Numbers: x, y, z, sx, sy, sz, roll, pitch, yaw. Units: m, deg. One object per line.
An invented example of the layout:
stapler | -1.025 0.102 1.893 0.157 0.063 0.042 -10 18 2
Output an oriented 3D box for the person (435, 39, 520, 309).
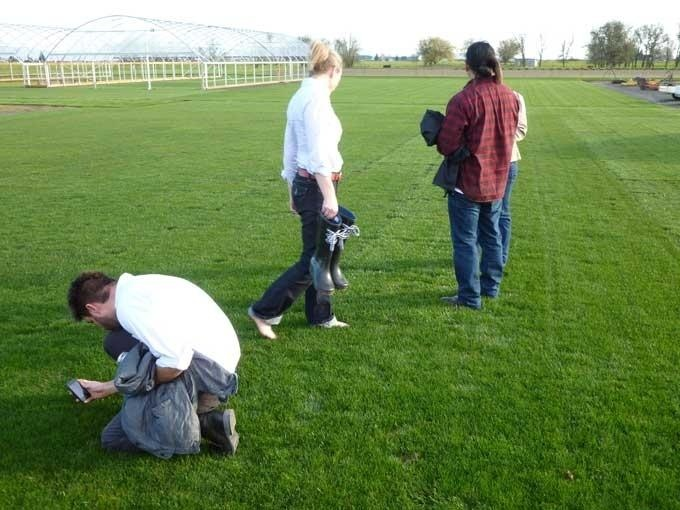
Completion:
person | 1.309 -0.756 4.776 0.641 2.438 0.708 12 21 31

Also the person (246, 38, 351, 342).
person | -0.304 -0.487 4.100 0.755 2.416 0.697 3 18 8

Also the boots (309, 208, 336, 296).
boots | -0.140 0.004 3.871 0.204 0.611 0.166 0 18 -3

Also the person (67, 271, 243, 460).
person | -1.196 0.690 3.141 1.032 1.166 0.745 -3 6 6
